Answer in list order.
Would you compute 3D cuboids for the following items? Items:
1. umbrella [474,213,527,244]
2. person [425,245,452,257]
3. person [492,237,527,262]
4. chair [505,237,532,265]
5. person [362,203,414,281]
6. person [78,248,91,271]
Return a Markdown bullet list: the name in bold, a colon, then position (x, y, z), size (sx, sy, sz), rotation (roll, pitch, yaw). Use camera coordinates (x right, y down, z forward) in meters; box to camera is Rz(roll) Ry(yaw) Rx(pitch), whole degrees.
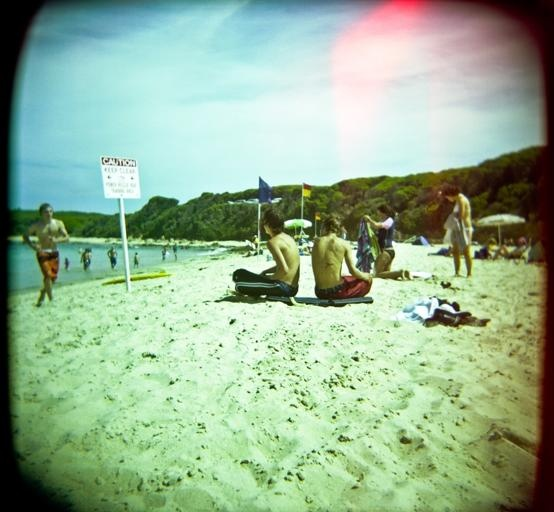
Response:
- **umbrella**: position (6.448, -1.032, 15.089), size (1.118, 0.865, 1.275), rotation (-6, 6, 17)
- **person**: position (5.903, -0.185, 19.149), size (0.775, 0.398, 0.481), rotation (-7, 18, -28)
- **person**: position (6.576, -0.220, 14.603), size (0.503, 0.644, 0.989), rotation (0, -1, -38)
- **chair**: position (6.618, -0.184, 14.376), size (0.632, 0.600, 2.097), rotation (2, 10, 25)
- **person**: position (2.060, -0.255, 9.641), size (0.967, 1.445, 0.749), rotation (3, 1, -2)
- **person**: position (-8.298, 0.149, 22.604), size (0.324, 0.541, 0.958), rotation (-11, -6, -13)
